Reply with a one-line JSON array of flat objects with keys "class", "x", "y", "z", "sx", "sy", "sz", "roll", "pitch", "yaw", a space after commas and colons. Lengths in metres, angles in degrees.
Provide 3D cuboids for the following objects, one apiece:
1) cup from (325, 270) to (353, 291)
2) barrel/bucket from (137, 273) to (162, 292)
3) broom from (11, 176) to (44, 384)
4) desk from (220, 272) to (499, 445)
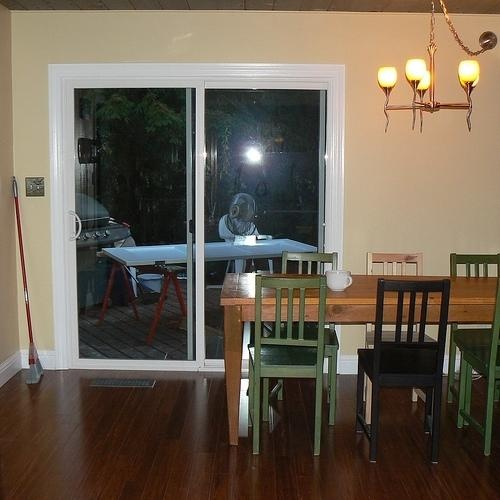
[{"class": "cup", "x": 0.493, "y": 0.171, "z": 2.660, "sx": 0.130, "sy": 0.114, "sz": 0.112, "roll": 1, "pitch": 5, "yaw": 11}, {"class": "barrel/bucket", "x": -0.757, "y": 0.231, "z": 3.579, "sx": 0.129, "sy": 0.104, "sz": 0.143, "roll": 2, "pitch": 5, "yaw": 1}, {"class": "broom", "x": -1.582, "y": 0.201, "z": 3.364, "sx": 0.153, "sy": 1.437, "sz": 0.403, "roll": -3, "pitch": 6, "yaw": -26}, {"class": "desk", "x": 0.587, "y": 0.588, "z": 2.757, "sx": 1.496, "sy": 0.794, "sz": 0.707, "roll": 0, "pitch": 6, "yaw": -2}]
